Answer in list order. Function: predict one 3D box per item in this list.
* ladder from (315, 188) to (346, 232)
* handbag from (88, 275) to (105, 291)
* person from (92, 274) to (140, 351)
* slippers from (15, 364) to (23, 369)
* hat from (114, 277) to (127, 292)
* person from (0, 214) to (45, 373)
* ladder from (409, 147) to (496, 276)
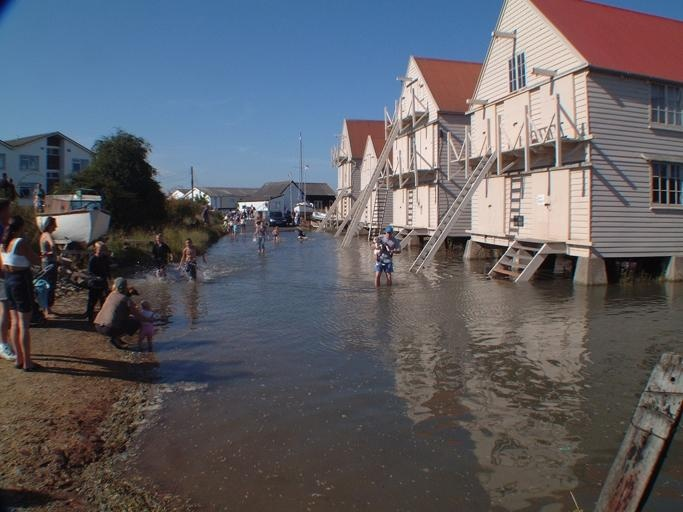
[{"bbox_3d":[-1.164,-4.388,52.693,0.780,1.186,11.117,-25,-16,-20],"label":"ladder"},{"bbox_3d":[-5.541,0.617,11.837,0.335,0.326,0.349,2,-9,23],"label":"handbag"},{"bbox_3d":[-4.437,1.099,10.240,0.786,1.373,0.661,-5,12,-26],"label":"person"},{"bbox_3d":[-5.425,1.846,8.723,0.091,0.071,0.093,-5,-10,26],"label":"slippers"},{"bbox_3d":[-4.342,0.554,10.177,0.241,0.279,0.328,-6,13,-27],"label":"hat"},{"bbox_3d":[-5.280,0.636,8.587,0.510,2.532,0.855,-7,13,-32],"label":"person"},{"bbox_3d":[5.315,-2.118,24.253,0.350,7.339,0.804,21,15,-18],"label":"ladder"}]
